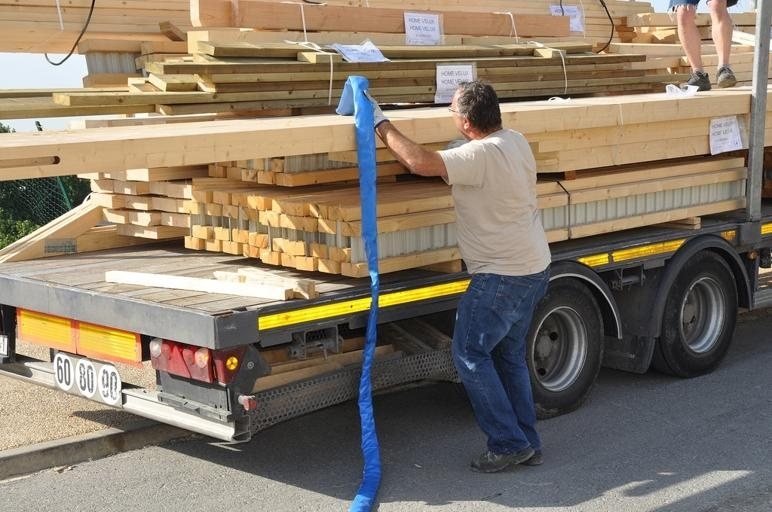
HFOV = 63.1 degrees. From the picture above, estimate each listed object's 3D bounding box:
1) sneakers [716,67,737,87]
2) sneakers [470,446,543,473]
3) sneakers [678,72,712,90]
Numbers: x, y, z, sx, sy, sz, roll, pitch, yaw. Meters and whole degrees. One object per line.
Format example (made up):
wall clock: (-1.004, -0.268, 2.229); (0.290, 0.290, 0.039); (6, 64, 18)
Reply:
sneakers: (4.161, -2.217, 7.679); (0.226, 0.234, 0.191); (-1, 12, 4)
sneakers: (0.920, 1.557, 4.935); (0.604, 0.233, 0.211); (-1, 2, -10)
sneakers: (3.666, -2.068, 7.378); (0.367, 0.225, 0.167); (-8, 13, -31)
